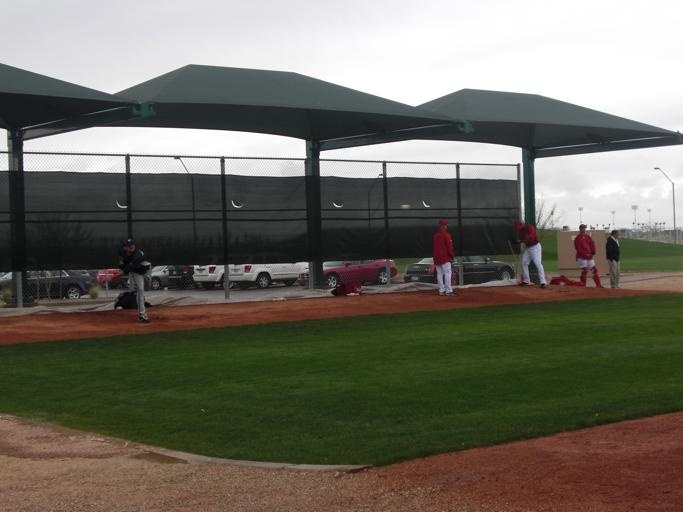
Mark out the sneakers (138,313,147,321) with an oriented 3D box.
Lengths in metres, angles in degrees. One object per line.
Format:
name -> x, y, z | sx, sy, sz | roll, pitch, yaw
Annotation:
sneakers -> -4.429, 1.366, 14.768 | 0.195, 0.158, 0.423 | -2, 4, -19

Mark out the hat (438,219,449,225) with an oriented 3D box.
hat -> 2.963, -0.967, 19.296 | 0.238, 0.267, 0.305 | 2, 8, 11

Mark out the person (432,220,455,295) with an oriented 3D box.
person -> 2.971, 0.041, 19.365 | 0.568, 2.170, 0.664 | 0, 3, 7

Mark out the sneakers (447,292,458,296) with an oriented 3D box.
sneakers -> 3.162, 1.091, 19.175 | 0.271, 0.096, 0.307 | 1, 4, 13

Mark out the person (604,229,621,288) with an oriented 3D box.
person -> 8.827, 0.073, 21.531 | 0.379, 1.848, 0.951 | 1, 4, 19

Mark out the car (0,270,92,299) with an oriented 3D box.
car -> -10.394, 0.999, 22.971 | 3.054, 0.943, 1.267 | 2, -2, -24

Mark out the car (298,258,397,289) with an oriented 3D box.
car -> 0.748, 0.705, 27.896 | 3.425, 1.143, 1.535 | 1, -3, -26

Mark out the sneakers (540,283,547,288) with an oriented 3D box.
sneakers -> 6.284, 0.919, 20.583 | 0.172, 0.122, 0.169 | -3, 0, 18
